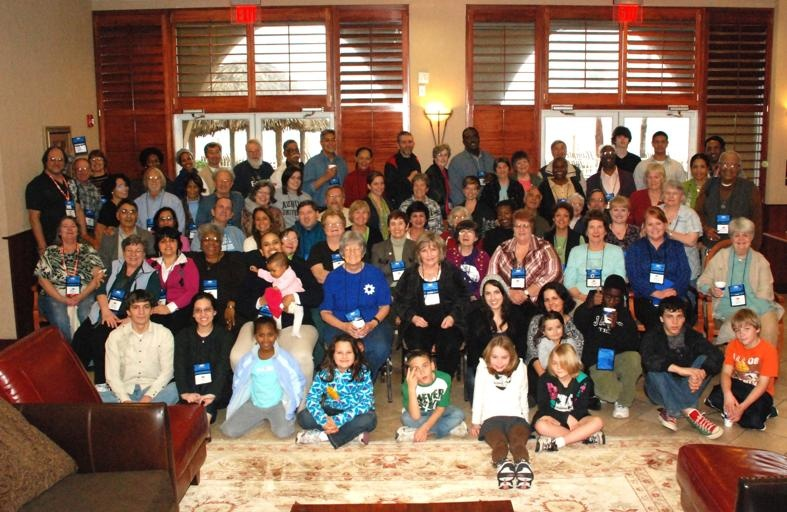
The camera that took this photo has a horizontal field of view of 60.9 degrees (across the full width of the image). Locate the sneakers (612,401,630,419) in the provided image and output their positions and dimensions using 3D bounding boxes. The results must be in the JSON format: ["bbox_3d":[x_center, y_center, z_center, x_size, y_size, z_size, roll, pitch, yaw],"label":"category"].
[{"bbox_3d":[2.150,1.434,6.290,0.134,0.128,0.314,0,-7,19],"label":"sneakers"}]

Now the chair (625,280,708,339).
[{"bbox_3d":[2.849,0.524,6.972,0.543,0.860,0.630,-1,-6,10],"label":"chair"}]

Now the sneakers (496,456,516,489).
[{"bbox_3d":[0.910,1.739,5.381,0.124,0.208,0.091,2,2,2],"label":"sneakers"}]

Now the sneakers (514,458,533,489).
[{"bbox_3d":[1.045,1.722,5.334,0.120,0.201,0.086,0,0,9],"label":"sneakers"}]

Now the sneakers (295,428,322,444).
[{"bbox_3d":[-0.749,1.594,5.913,0.189,0.104,0.068,0,-12,0],"label":"sneakers"}]

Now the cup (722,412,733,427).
[{"bbox_3d":[3.052,1.489,6.103,0.099,0.122,0.130,0,-2,7],"label":"cup"}]

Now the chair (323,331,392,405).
[{"bbox_3d":[-0.357,0.943,6.222,0.421,0.621,0.737,3,13,17],"label":"chair"}]

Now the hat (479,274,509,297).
[{"bbox_3d":[1.017,0.264,6.721,0.227,0.229,0.200,-2,14,14],"label":"hat"}]

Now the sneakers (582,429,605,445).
[{"bbox_3d":[1.765,1.572,5.859,0.097,0.077,0.217,-3,-5,-6],"label":"sneakers"}]

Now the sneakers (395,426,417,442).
[{"bbox_3d":[0.109,1.578,5.979,0.170,0.090,0.071,0,-6,4],"label":"sneakers"}]

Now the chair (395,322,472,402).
[{"bbox_3d":[0.411,0.924,6.557,0.589,0.842,0.578,-11,3,1],"label":"chair"}]

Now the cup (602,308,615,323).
[{"bbox_3d":[2.084,0.571,6.530,0.132,0.136,0.128,17,-6,2],"label":"cup"}]

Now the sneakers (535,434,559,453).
[{"bbox_3d":[1.314,1.606,5.788,0.109,0.084,0.235,2,7,1],"label":"sneakers"}]

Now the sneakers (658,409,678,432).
[{"bbox_3d":[2.500,1.490,6.146,0.243,0.104,0.090,30,-12,46],"label":"sneakers"}]
